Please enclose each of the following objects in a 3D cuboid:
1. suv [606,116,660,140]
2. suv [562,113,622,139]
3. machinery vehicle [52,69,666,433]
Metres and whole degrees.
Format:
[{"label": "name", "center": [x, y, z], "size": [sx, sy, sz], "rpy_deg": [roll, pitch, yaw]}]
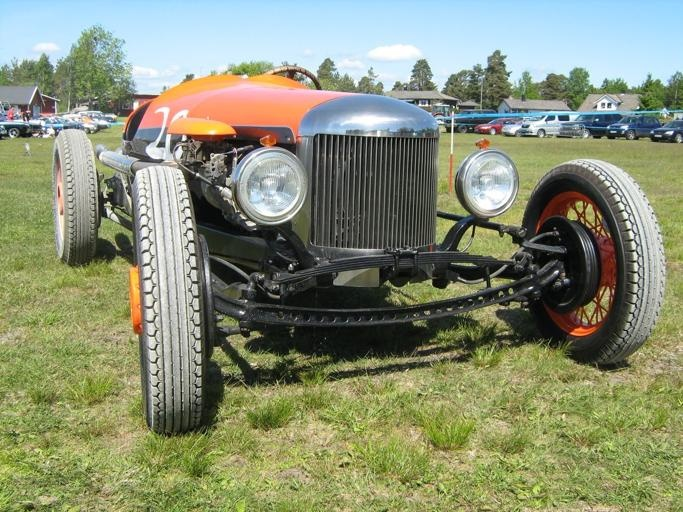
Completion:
[{"label": "suv", "center": [16.192, -7.153, 31.279], "size": [2.895, 1.034, 1.442], "rpy_deg": [-3, 8, -24]}, {"label": "suv", "center": [14.848, -7.797, 33.923], "size": [2.601, 0.933, 1.583], "rpy_deg": [8, 15, 33]}, {"label": "machinery vehicle", "center": [-0.068, -0.410, 4.589], "size": [3.549, 2.277, 3.238], "rpy_deg": [-1, 9, -16]}]
